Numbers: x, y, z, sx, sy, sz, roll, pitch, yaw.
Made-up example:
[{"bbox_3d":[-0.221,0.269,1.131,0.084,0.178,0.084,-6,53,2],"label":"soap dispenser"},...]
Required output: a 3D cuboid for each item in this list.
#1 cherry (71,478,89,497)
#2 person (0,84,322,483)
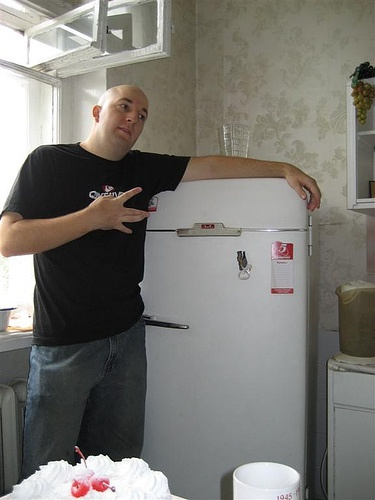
[{"bbox_3d":[-0.114,0.250,0.450,0.018,0.017,0.006,1,-6,18],"label":"cherry"},{"bbox_3d":[-0.197,0.071,1.332,0.716,1.176,0.312,0,5,-31],"label":"person"}]
